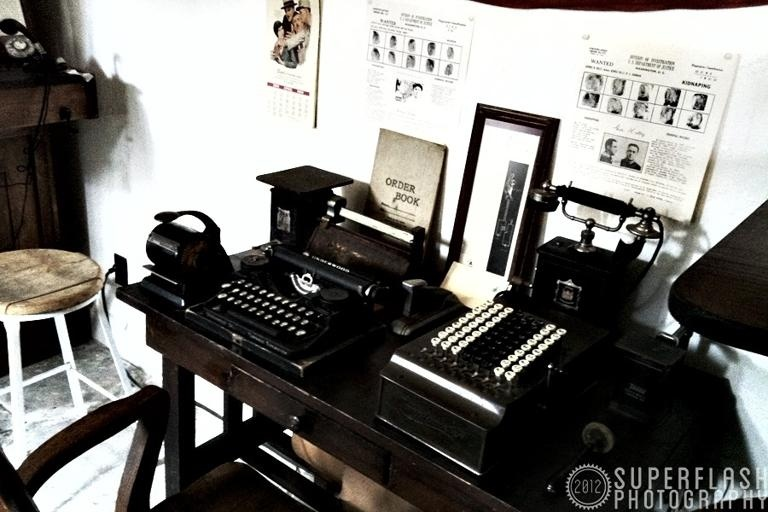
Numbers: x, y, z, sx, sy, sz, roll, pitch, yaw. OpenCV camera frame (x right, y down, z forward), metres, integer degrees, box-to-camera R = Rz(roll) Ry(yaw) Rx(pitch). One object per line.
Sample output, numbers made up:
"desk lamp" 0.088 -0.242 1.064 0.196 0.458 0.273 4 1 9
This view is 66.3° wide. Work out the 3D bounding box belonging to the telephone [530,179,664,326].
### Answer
"telephone" 0.744 -0.003 2.001 0.435 0.378 0.167 24 37 21
